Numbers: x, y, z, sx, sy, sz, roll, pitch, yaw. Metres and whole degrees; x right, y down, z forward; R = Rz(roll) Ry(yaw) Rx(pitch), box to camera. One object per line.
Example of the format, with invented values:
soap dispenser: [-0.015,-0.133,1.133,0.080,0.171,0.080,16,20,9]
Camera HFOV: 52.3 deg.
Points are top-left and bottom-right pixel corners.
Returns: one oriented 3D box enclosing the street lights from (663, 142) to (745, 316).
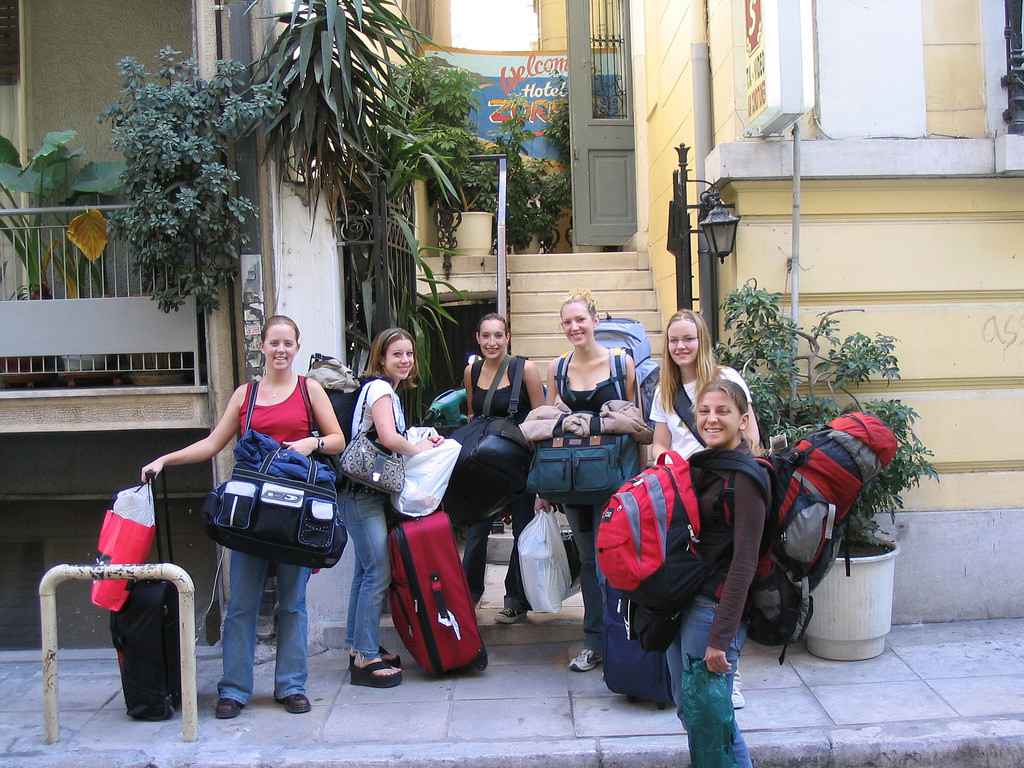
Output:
street lights: [1.528,-1.129,8.375,0.645,1.581,0.355,-1,-4,-10]

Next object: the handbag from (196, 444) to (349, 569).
handbag: [-1.485,0.736,6.562,0.860,0.817,0.506,14,-15,-15]

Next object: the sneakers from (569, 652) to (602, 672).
sneakers: [0.498,1.906,7.155,0.102,0.097,0.226,0,-4,44]

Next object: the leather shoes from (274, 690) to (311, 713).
leather shoes: [-1.432,2.074,6.792,0.257,0.106,0.095,-4,-5,41]

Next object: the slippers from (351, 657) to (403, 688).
slippers: [-0.927,1.963,7.080,0.286,0.145,0.167,1,0,4]

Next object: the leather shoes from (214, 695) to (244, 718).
leather shoes: [-1.819,2.077,6.691,0.179,0.121,0.122,-6,14,-17]

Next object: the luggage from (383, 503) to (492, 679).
luggage: [-0.327,1.270,7.231,0.600,1.139,0.805,-5,22,27]

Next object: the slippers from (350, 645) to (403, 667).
slippers: [-0.942,1.864,7.164,0.424,0.183,0.145,-1,3,4]

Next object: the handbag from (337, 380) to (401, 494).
handbag: [-0.858,0.350,6.839,0.442,0.705,0.367,22,25,17]

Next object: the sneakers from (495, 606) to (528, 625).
sneakers: [-0.007,1.704,7.652,0.240,0.104,0.086,10,-10,-38]

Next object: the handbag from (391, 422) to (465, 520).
handbag: [-0.555,0.619,6.952,0.388,0.520,0.187,20,-1,26]

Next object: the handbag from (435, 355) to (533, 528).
handbag: [-0.181,0.473,7.692,0.604,1.051,1.443,16,40,-12]

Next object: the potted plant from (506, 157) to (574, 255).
potted plant: [0.374,-2.192,14.257,0.757,0.834,0.569,-1,15,4]

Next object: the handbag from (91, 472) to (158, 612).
handbag: [-2.465,1.007,6.565,0.333,0.847,0.240,8,7,-18]

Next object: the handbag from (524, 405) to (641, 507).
handbag: [0.472,0.478,6.882,0.698,0.671,0.445,-3,-9,24]

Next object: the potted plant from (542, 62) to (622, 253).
potted plant: [1.075,-2.939,13.228,0.566,2.728,0.315,-1,-24,-6]
